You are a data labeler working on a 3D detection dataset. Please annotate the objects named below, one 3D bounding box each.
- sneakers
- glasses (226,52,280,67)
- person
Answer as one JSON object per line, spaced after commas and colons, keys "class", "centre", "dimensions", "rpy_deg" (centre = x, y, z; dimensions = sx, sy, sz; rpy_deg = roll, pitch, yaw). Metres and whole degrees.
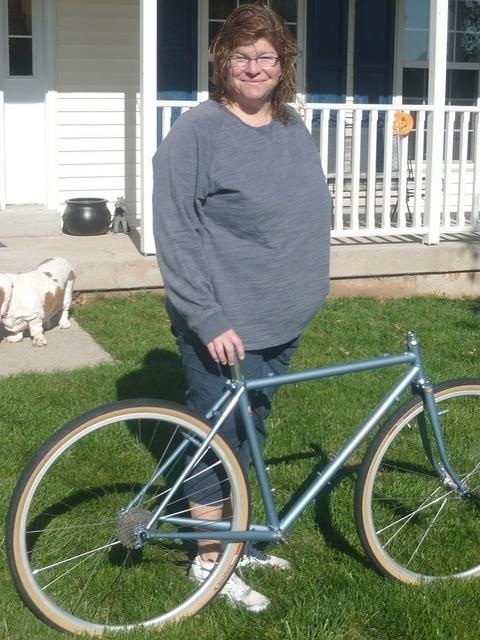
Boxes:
{"class": "sneakers", "centre": [-0.058, 0.808, 2.220], "dimensions": [0.407, 0.164, 0.138], "rpy_deg": [5, 15, 28]}
{"class": "glasses", "centre": [0.044, -0.763, 1.976], "dimensions": [0.141, 0.040, 0.033], "rpy_deg": [-1, 10, -8]}
{"class": "person", "centre": [0.008, -0.049, 2.112], "dimensions": [0.401, 1.857, 0.625], "rpy_deg": [9, 13, 37]}
